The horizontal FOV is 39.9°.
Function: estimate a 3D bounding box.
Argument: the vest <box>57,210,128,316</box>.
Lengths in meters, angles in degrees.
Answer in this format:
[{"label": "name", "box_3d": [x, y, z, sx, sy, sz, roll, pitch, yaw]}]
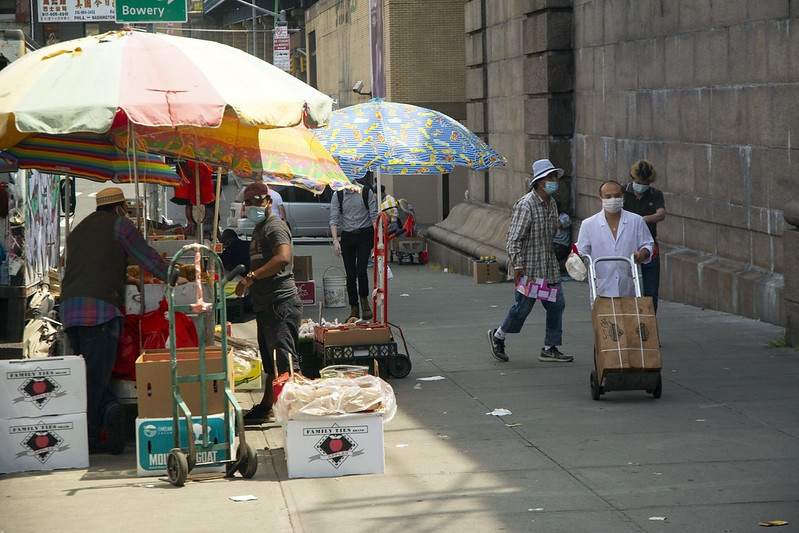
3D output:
[{"label": "vest", "box_3d": [-3.226, -0.057, 11.917, 0.864, 1.205, 0.694, -6, -14, 37]}]

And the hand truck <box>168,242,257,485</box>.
[{"label": "hand truck", "box_3d": [-1.922, 0.981, 10.868, 0.915, 2.308, 0.669, -3, 1, 12]}]

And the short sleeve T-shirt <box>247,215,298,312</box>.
[{"label": "short sleeve T-shirt", "box_3d": [-1.467, -0.017, 12.539, 0.582, 1.021, 0.936, -1, -7, -30]}]

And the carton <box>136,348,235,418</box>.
[{"label": "carton", "box_3d": [-2.263, 1.188, 10.892, 0.771, 0.463, 0.740, -1, -2, -9]}]

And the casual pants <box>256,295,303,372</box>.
[{"label": "casual pants", "box_3d": [-1.308, 0.644, 12.562, 0.459, 0.801, 0.670, -11, 15, -4]}]

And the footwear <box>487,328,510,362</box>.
[{"label": "footwear", "box_3d": [1.319, 1.055, 14.487, 0.182, 0.493, 0.202, -11, -14, -45]}]

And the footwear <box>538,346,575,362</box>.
[{"label": "footwear", "box_3d": [2.041, 1.138, 14.256, 0.483, 0.200, 0.177, 0, 1, 9]}]

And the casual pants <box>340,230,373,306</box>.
[{"label": "casual pants", "box_3d": [-0.675, 0.041, 17.905, 0.538, 1.397, 0.439, -6, -14, 10]}]

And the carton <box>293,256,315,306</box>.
[{"label": "carton", "box_3d": [-1.614, 0.266, 18.701, 0.443, 0.608, 0.457, -1, 5, 13]}]

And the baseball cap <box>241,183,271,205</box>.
[{"label": "baseball cap", "box_3d": [-1.609, -0.817, 12.323, 0.300, 0.207, 0.372, -4, 11, -9]}]

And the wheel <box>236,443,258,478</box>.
[{"label": "wheel", "box_3d": [-1.504, 1.886, 10.763, 0.187, 0.363, 0.168, -5, 11, -12]}]

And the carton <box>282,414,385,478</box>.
[{"label": "carton", "box_3d": [-0.712, 1.799, 11.219, 1.285, 0.591, 1.314, -4, -5, 21]}]

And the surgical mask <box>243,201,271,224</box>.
[{"label": "surgical mask", "box_3d": [-1.594, -0.596, 12.343, 0.195, 0.140, 0.222, 2, 9, 7]}]

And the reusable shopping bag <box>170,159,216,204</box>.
[{"label": "reusable shopping bag", "box_3d": [-2.881, -1.192, 15.297, 0.813, 0.858, 0.495, 0, 2, -3]}]

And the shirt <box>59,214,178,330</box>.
[{"label": "shirt", "box_3d": [-3.045, 0.107, 11.824, 1.387, 1.441, 0.916, 1, -7, 27]}]

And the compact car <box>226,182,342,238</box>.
[{"label": "compact car", "box_3d": [-3.008, -1.234, 29.857, 3.187, 1.300, 1.769, -4, 6, -15]}]

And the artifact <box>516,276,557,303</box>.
[{"label": "artifact", "box_3d": [1.765, 0.296, 14.047, 0.386, 0.226, 0.370, 15, 8, -20]}]

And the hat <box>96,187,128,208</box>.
[{"label": "hat", "box_3d": [-3.096, -0.742, 11.775, 0.245, 0.128, 0.237, -21, 16, -36]}]

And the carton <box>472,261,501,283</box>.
[{"label": "carton", "box_3d": [1.727, 0.109, 22.016, 0.457, 0.330, 0.439, -1, 1, -3]}]

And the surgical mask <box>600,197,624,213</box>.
[{"label": "surgical mask", "box_3d": [2.569, -0.743, 13.282, 0.186, 0.112, 0.195, -1, 8, -2]}]

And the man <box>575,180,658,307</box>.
[{"label": "man", "box_3d": [2.657, 0.047, 13.458, 1.016, 1.963, 0.717, -9, 20, -3]}]

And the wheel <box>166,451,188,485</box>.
[{"label": "wheel", "box_3d": [-2.146, 1.936, 10.586, 0.156, 0.221, 0.247, -6, 42, -34]}]

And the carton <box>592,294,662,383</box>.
[{"label": "carton", "box_3d": [2.606, 1.041, 12.732, 0.667, 0.896, 1.143, -1, 45, 4]}]

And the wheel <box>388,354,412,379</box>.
[{"label": "wheel", "box_3d": [-0.013, 1.234, 13.833, 0.305, 0.296, 0.293, -5, 0, 0]}]

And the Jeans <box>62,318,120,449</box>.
[{"label": "Jeans", "box_3d": [-3.387, 1.064, 11.560, 0.571, 1.258, 0.380, -3, 1, -15]}]

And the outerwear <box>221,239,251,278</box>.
[{"label": "outerwear", "box_3d": [-2.385, -0.107, 15.929, 0.507, 0.475, 0.273, -14, 1, 0]}]
